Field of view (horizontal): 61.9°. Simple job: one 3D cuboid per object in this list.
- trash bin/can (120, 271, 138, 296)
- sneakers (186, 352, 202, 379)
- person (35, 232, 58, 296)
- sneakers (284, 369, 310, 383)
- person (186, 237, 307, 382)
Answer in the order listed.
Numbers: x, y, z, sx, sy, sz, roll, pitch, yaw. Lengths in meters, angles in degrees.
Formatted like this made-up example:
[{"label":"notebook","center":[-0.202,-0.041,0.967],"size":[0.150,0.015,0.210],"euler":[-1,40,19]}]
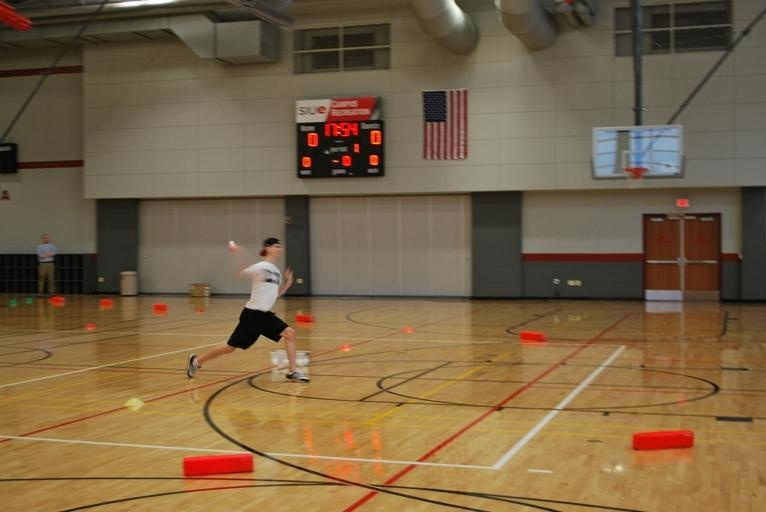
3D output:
[{"label":"trash bin/can","center":[-9.021,0.993,22.621],"size":[0.516,0.839,0.388],"euler":[-1,0,-23]},{"label":"sneakers","center":[-2.582,1.501,8.660],"size":[0.237,0.361,0.147],"euler":[4,12,10]},{"label":"person","center":[-11.970,0.337,22.651],"size":[0.557,2.167,1.369],"euler":[-1,0,-27]},{"label":"sneakers","center":[-1.157,1.587,8.475],"size":[0.402,0.133,0.145],"euler":[3,-1,2]},{"label":"person","center":[-1.628,0.715,8.645],"size":[1.275,1.886,1.165],"euler":[-1,0,-39]}]
